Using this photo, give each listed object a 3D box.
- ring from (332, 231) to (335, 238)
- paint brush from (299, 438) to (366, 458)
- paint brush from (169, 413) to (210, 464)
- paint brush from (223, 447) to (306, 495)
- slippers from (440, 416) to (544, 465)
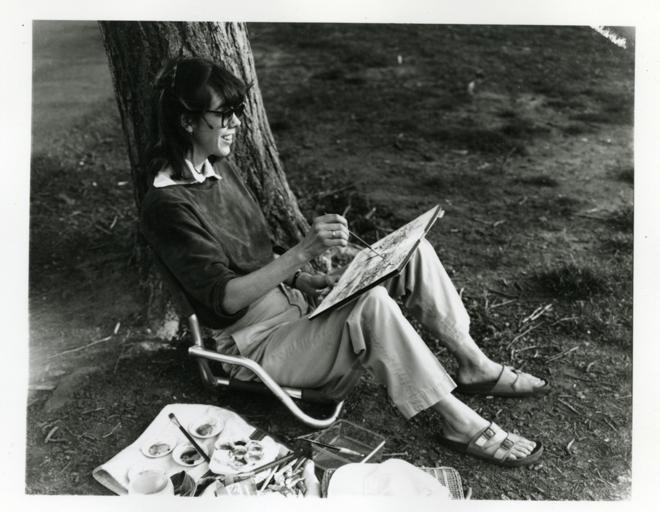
[{"bbox_3d":[0.020,-0.108,3.083,0.016,0.024,0.009,3,32,2],"label":"ring"},{"bbox_3d":[0.003,0.987,3.251,0.203,0.027,0.030,15,42,4],"label":"paint brush"},{"bbox_3d":[-0.707,0.922,3.170,0.038,0.039,0.337,-42,52,-8],"label":"paint brush"},{"bbox_3d":[-0.332,1.096,3.136,0.450,0.142,0.086,-10,34,-19],"label":"paint brush"},{"bbox_3d":[0.807,0.941,3.153,0.508,0.219,0.110,3,32,2],"label":"slippers"}]
